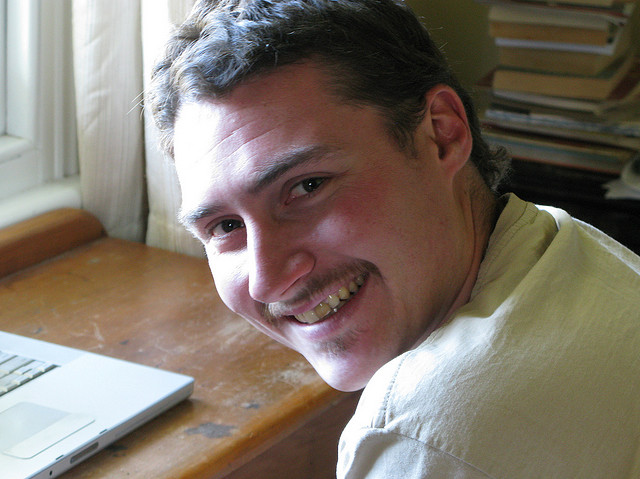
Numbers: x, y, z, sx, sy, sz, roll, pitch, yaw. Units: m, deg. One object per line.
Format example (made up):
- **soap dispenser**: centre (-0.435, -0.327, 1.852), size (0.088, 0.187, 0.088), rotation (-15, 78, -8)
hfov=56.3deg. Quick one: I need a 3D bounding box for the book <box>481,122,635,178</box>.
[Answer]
- **book**: centre (0.461, -0.176, 1.178), size (0.181, 0.038, 0.179), rotation (17, 14, 21)
